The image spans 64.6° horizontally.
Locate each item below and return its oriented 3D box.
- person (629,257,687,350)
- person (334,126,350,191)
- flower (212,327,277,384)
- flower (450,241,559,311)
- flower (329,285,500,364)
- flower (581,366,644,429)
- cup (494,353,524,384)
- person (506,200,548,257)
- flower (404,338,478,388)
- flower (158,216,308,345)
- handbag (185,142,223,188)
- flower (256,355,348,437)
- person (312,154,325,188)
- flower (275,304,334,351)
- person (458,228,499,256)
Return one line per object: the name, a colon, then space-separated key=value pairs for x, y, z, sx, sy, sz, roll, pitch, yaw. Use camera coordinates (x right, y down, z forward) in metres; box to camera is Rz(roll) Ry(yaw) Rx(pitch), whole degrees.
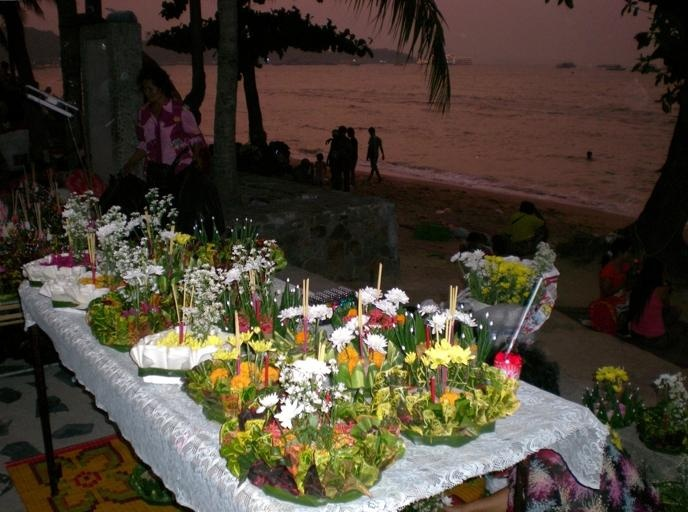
person: x=4.066 y=0.654 z=7.058 sx=0.606 sy=1.061 sz=0.758 roll=22 pitch=40 yaw=39
person: x=-0.046 y=-2.768 z=15.617 sx=0.479 sy=1.912 sz=1.152 roll=3 pitch=22 yaw=0
flower: x=-0.404 y=0.401 z=2.363 sx=0.221 sy=0.264 sz=0.249 roll=7 pitch=24 yaw=23
flower: x=0.993 y=0.105 z=3.284 sx=0.493 sy=0.302 sz=0.411 roll=-2 pitch=27 yaw=-2
flower: x=0.341 y=0.350 z=2.583 sx=0.562 sy=0.253 sz=0.445 roll=15 pitch=35 yaw=17
flower: x=2.253 y=1.182 z=4.544 sx=0.487 sy=0.594 sz=0.499 roll=-6 pitch=33 yaw=23
cup: x=0.733 y=0.513 z=2.422 sx=0.132 sy=0.144 sz=0.134 roll=-4 pitch=32 yaw=3
person: x=3.308 y=-0.692 z=9.803 sx=0.651 sy=0.946 sz=0.318 roll=-1 pitch=66 yaw=24
flower: x=0.386 y=0.393 z=2.224 sx=0.224 sy=0.164 sz=0.225 roll=-24 pitch=30 yaw=-31
flower: x=-0.654 y=0.141 z=2.990 sx=0.649 sy=0.599 sz=0.738 roll=25 pitch=35 yaw=29
handbag: x=-1.741 y=-1.172 z=6.741 sx=0.230 sy=0.382 sz=0.398 roll=2 pitch=14 yaw=30
flower: x=-0.151 y=0.522 z=2.013 sx=0.260 sy=0.280 sz=0.265 roll=-14 pitch=44 yaw=-14
person: x=-0.769 y=-2.705 z=16.951 sx=0.384 sy=1.195 sz=1.153 roll=2 pitch=22 yaw=-4
flower: x=-0.201 y=0.290 z=2.508 sx=0.215 sy=0.239 sz=0.223 roll=14 pitch=23 yaw=23
person: x=2.216 y=-0.250 z=8.993 sx=0.675 sy=0.319 sz=0.751 roll=1 pitch=14 yaw=6
